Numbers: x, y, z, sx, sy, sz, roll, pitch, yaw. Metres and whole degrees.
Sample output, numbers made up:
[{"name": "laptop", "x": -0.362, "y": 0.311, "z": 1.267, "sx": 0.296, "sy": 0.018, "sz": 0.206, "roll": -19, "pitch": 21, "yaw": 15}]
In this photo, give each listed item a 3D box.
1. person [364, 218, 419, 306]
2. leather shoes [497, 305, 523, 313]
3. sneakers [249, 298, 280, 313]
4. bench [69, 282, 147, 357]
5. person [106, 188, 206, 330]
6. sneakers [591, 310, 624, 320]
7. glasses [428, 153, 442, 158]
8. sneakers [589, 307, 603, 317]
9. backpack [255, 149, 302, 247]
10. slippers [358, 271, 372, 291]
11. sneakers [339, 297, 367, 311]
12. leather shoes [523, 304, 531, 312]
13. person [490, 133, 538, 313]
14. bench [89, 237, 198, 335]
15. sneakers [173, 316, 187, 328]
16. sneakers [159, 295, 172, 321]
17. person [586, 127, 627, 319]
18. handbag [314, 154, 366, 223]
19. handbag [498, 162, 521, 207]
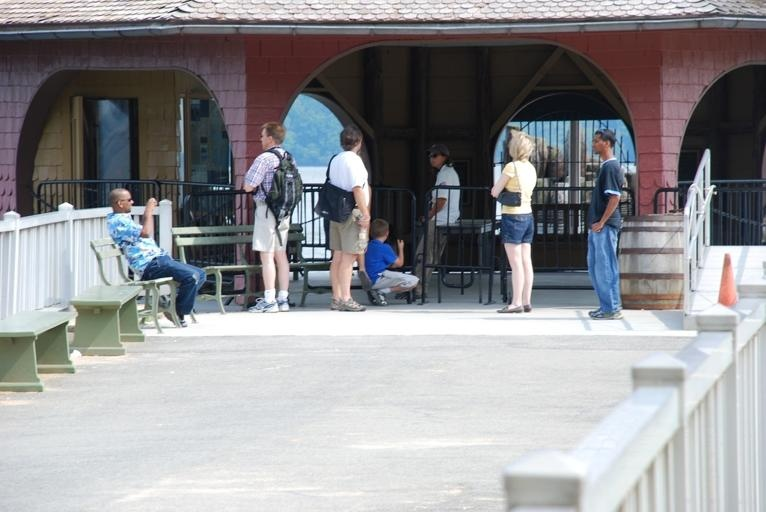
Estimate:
[{"name": "person", "x": 0.066, "y": 0.048, "z": 20.146, "sx": 0.653, "sy": 1.166, "sz": 0.791, "roll": 1, "pitch": 3, "yaw": -14}, {"name": "leather shoes", "x": 1.640, "y": 0.670, "z": 18.840, "sx": 0.304, "sy": 0.102, "sz": 0.124, "roll": 2, "pitch": 0, "yaw": 7}, {"name": "sneakers", "x": -1.575, "y": 0.617, "z": 19.346, "sx": 0.380, "sy": 0.193, "sz": 0.178, "roll": 1, "pitch": 2, "yaw": 14}, {"name": "bench", "x": -3.204, "y": 0.723, "z": 16.985, "sx": 0.745, "sy": 0.706, "sz": 0.917, "roll": 0, "pitch": 4, "yaw": 0}, {"name": "person", "x": -2.805, "y": 0.020, "z": 18.018, "sx": 1.135, "sy": 1.693, "sz": 0.526, "roll": -1, "pitch": 4, "yaw": -13}, {"name": "sneakers", "x": 2.819, "y": 0.702, "z": 18.539, "sx": 0.324, "sy": 0.165, "sz": 0.154, "roll": 3, "pitch": 3, "yaw": 5}, {"name": "glasses", "x": 0.743, "y": -1.415, "z": 20.438, "sx": 0.153, "sy": 0.073, "sz": 0.094, "roll": 7, "pitch": -5, "yaw": -33}, {"name": "sneakers", "x": 2.735, "y": 0.692, "z": 18.749, "sx": 0.105, "sy": 0.146, "sz": 0.327, "roll": 0, "pitch": -2, "yaw": 3}, {"name": "backpack", "x": -1.303, "y": -0.786, "z": 19.077, "sx": 0.346, "sy": 1.243, "sz": 0.536, "roll": 2, "pitch": 4, "yaw": 29}, {"name": "slippers", "x": -0.248, "y": 0.299, "z": 19.703, "sx": 0.123, "sy": 0.286, "sz": 0.116, "roll": -18, "pitch": 16, "yaw": 8}, {"name": "sneakers", "x": -0.393, "y": 0.604, "z": 19.354, "sx": 0.330, "sy": 0.167, "sz": 0.156, "roll": 1, "pitch": 1, "yaw": 14}, {"name": "leather shoes", "x": 1.864, "y": 0.651, "z": 18.951, "sx": 0.080, "sy": 0.087, "sz": 0.210, "roll": 0, "pitch": -4, "yaw": 5}, {"name": "person", "x": 1.670, "y": -0.418, "z": 18.642, "sx": 0.514, "sy": 2.305, "sz": 0.701, "roll": 1, "pitch": 4, "yaw": 11}, {"name": "bench", "x": -2.985, "y": 0.297, "z": 17.969, "sx": 0.879, "sy": 1.191, "sz": 0.855, "roll": -7, "pitch": 6, "yaw": 19}, {"name": "sneakers", "x": -2.526, "y": 0.789, "z": 18.172, "sx": 0.112, "sy": 0.172, "sz": 0.390, "roll": 0, "pitch": 5, "yaw": -4}, {"name": "sneakers", "x": -2.688, "y": 0.614, "z": 18.114, "sx": 0.104, "sy": 0.325, "sz": 0.165, "roll": -19, "pitch": -11, "yaw": 8}, {"name": "person", "x": 2.782, "y": -0.389, "z": 18.274, "sx": 0.420, "sy": 2.357, "sz": 0.584, "roll": 0, "pitch": 4, "yaw": 7}, {"name": "handbag", "x": -0.590, "y": -0.882, "z": 19.104, "sx": 0.495, "sy": 0.836, "sz": 0.469, "roll": 15, "pitch": 11, "yaw": 23}, {"name": "handbag", "x": 1.620, "y": -0.863, "z": 18.472, "sx": 0.337, "sy": 0.445, "sz": 0.156, "roll": 1, "pitch": 2, "yaw": 18}]
